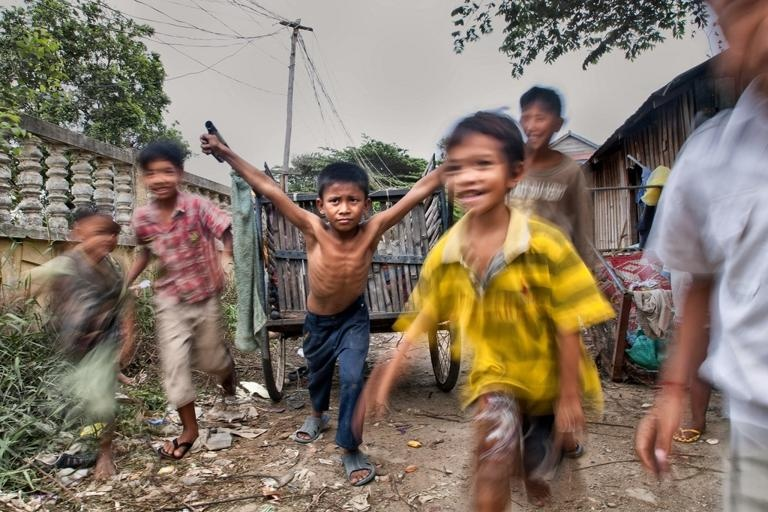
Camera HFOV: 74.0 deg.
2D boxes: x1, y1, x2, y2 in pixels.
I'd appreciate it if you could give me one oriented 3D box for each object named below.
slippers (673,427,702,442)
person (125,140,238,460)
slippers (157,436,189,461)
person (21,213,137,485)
[{"bbox_3d":[2.407,1.427,4.055,0.169,0.082,0.351,-8,-7,43],"label":"slippers"},{"bbox_3d":[-1.571,0.270,4.407,0.975,2.466,1.395,-3,6,7],"label":"person"},{"bbox_3d":[-1.634,1.504,3.980,0.133,0.069,0.262,3,-7,11],"label":"slippers"},{"bbox_3d":[-2.274,0.621,3.998,0.852,1.953,0.612,6,12,42],"label":"person"}]
